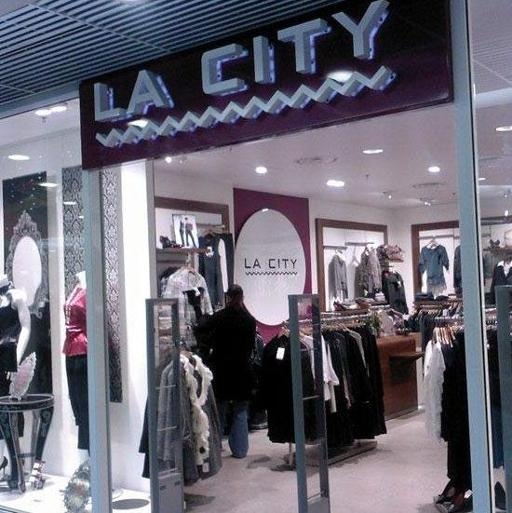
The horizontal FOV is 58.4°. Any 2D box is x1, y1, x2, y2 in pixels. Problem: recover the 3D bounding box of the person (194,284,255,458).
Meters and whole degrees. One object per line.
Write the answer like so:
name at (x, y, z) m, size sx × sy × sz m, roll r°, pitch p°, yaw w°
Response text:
person at (-0.265, 1.046, 4.096) m, size 0.532 × 1.540 × 0.358 m, roll -3°, pitch -4°, yaw -7°
